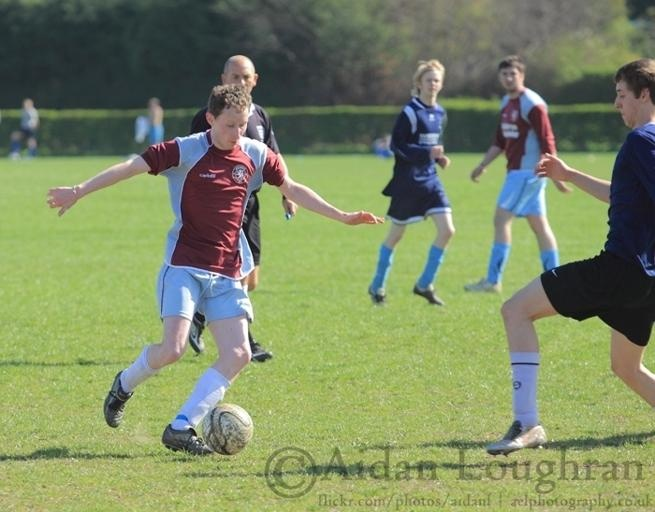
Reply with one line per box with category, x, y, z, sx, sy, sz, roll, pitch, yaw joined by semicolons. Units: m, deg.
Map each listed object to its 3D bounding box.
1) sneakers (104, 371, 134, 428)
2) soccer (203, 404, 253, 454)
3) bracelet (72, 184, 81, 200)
sneakers;-2.206;1.528;12.867;0.230;0.645;0.289;7;-3;-45
soccer;-1.019;1.766;12.471;0.494;0.468;0.197;3;9;-6
bracelet;-2.572;-0.663;12.530;0.053;0.098;0.133;-4;21;-4
